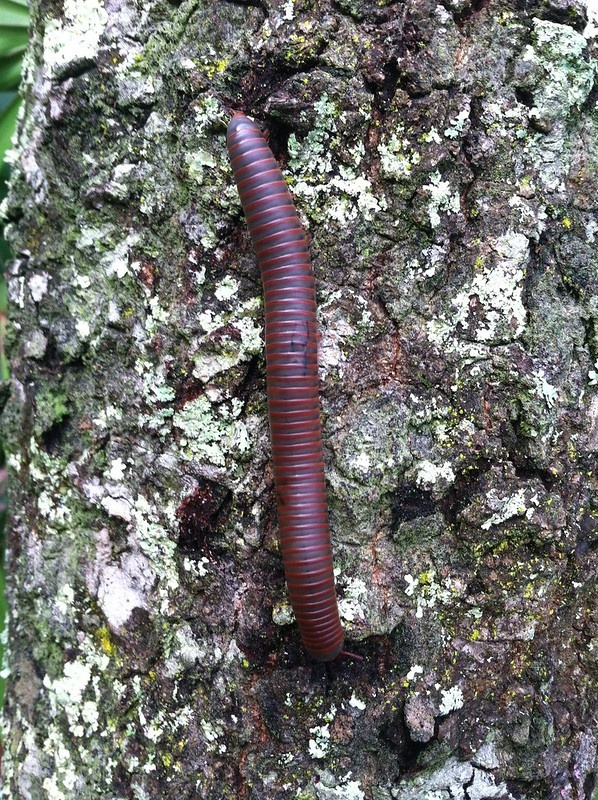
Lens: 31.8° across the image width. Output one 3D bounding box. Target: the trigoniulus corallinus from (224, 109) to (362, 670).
[{"bbox_3d":[-0.031,-0.040,4.370,0.325,0.284,2.642,3,93,5],"label":"trigoniulus corallinus"}]
